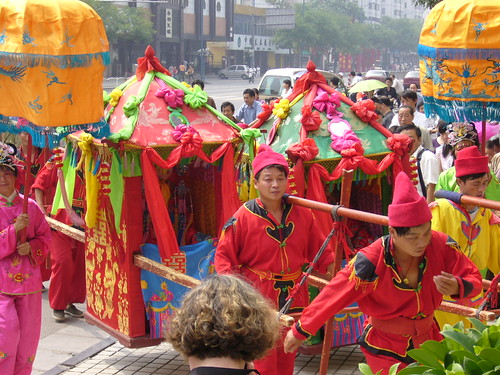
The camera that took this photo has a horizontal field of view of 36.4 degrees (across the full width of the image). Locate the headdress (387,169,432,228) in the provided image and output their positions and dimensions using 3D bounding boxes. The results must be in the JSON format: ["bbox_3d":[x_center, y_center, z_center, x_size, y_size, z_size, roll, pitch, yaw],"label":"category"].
[{"bbox_3d":[1.080,0.066,5.062,0.263,0.361,0.359,-7,6,2],"label":"headdress"}]

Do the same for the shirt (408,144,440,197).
[{"bbox_3d":[1.739,-0.162,7.599,0.268,0.545,0.518,1,3,0],"label":"shirt"}]

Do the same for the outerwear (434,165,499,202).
[{"bbox_3d":[1.957,0.078,6.725,0.513,0.540,0.312,1,1,7],"label":"outerwear"}]

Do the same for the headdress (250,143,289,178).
[{"bbox_3d":[0.148,-0.232,6.106,0.198,0.261,0.296,1,-19,-9],"label":"headdress"}]

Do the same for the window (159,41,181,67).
[{"bbox_3d":[-4.657,-7.834,43.979,1.359,1.825,1.358,-4,5,-41],"label":"window"}]

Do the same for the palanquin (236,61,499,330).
[{"bbox_3d":[1.129,-0.076,7.883,1.858,2.666,1.890,-8,13,-31],"label":"palanquin"}]

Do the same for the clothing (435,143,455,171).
[{"bbox_3d":[2.079,-0.323,8.077,0.164,0.314,0.301,-13,7,-16],"label":"clothing"}]

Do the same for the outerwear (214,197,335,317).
[{"bbox_3d":[0.196,0.523,5.647,0.917,0.816,0.373,3,2,-23],"label":"outerwear"}]

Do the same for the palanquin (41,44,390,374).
[{"bbox_3d":[-0.536,-0.253,8.658,2.865,3.769,2.903,-5,13,-38],"label":"palanquin"}]

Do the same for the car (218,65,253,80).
[{"bbox_3d":[-0.965,-7.329,48.190,1.687,0.877,1.047,5,8,9],"label":"car"}]

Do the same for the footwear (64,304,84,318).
[{"bbox_3d":[-1.929,1.336,8.347,0.259,0.115,0.114,9,12,19],"label":"footwear"}]

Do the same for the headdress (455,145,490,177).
[{"bbox_3d":[1.776,-0.217,6.048,0.193,0.189,0.271,-6,2,-19],"label":"headdress"}]
